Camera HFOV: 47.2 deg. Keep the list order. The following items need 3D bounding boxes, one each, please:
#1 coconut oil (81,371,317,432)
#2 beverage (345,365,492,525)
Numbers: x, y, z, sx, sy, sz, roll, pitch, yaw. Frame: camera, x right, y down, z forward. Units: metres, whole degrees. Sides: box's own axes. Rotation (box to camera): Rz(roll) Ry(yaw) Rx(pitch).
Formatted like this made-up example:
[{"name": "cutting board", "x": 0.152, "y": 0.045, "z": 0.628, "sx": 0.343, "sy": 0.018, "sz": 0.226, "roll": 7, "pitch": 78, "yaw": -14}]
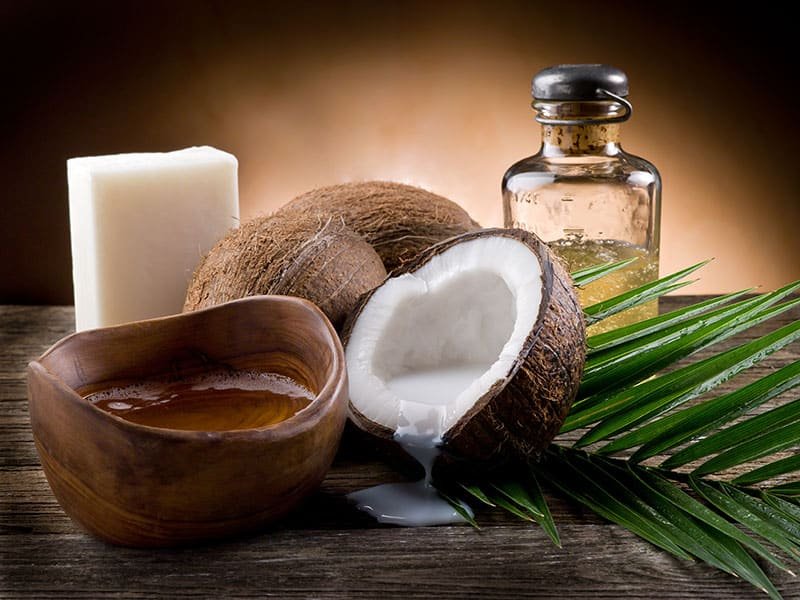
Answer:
[{"name": "coconut oil", "x": -0.178, "y": 0.098, "z": 0.798, "sx": 0.155, "sy": 0.012, "sz": 0.236, "roll": 10, "pitch": -23, "yaw": -33}, {"name": "beverage", "x": 0.015, "y": 0.136, "z": 0.814, "sx": 0.112, "sy": 0.089, "sz": 0.116, "roll": 9, "pitch": 1, "yaw": 42}]
